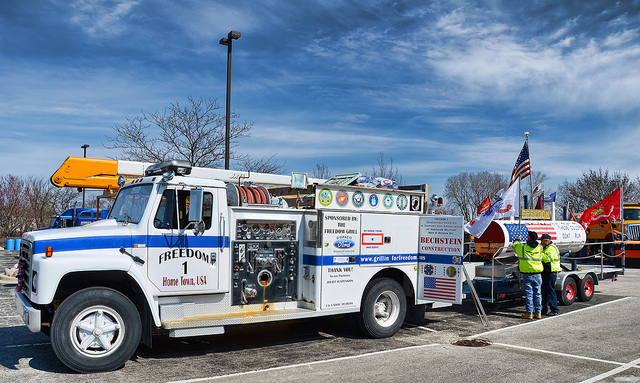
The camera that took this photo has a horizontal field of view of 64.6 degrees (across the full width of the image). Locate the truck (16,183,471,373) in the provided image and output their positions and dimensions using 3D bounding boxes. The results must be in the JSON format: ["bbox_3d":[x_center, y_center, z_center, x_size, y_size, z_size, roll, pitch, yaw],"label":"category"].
[{"bbox_3d":[-1.709,1.803,14.155,11.326,4.101,4.631,2,-4,-21],"label":"truck"}]

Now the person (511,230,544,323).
[{"bbox_3d":[6.523,2.601,16.038,1.003,2.705,1.486,1,2,24],"label":"person"}]
